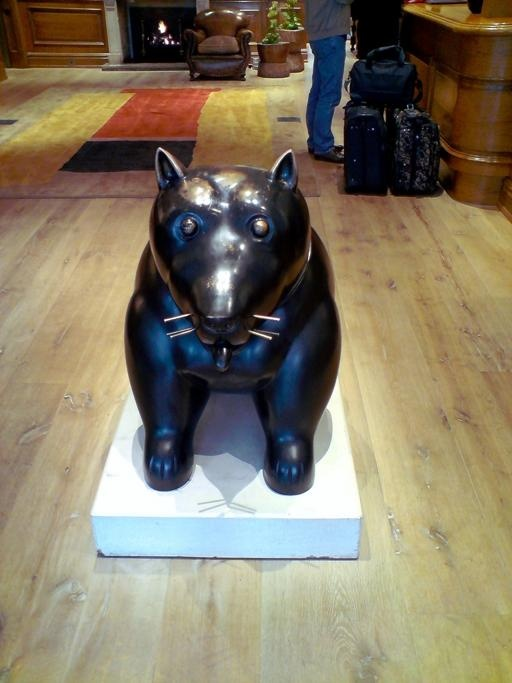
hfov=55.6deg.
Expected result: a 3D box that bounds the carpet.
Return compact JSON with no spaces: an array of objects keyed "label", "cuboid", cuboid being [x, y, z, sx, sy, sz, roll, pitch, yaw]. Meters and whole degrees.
[{"label":"carpet","cuboid":[-0.901,-2.040,4.650,2.656,0.083,3.828,0,35,1]}]

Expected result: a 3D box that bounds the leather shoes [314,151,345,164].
[{"label":"leather shoes","cuboid":[0.581,-1.427,3.765,0.267,0.124,0.096,7,35,14]}]

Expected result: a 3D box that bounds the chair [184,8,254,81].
[{"label":"chair","cuboid":[-0.561,-4.423,7.250,0.984,0.843,1.023,-1,34,-1]}]

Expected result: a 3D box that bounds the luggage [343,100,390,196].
[{"label":"luggage","cuboid":[0.741,-1.229,3.406,0.310,0.487,0.665,1,9,5]}]

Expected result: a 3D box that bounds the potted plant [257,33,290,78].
[{"label":"potted plant","cuboid":[0.237,-4.210,7.146,0.470,0.559,0.511,-1,30,1]}]

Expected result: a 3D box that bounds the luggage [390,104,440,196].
[{"label":"luggage","cuboid":[0.998,-1.189,3.075,0.230,0.439,0.460,-3,36,7]}]

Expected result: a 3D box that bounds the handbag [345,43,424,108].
[{"label":"handbag","cuboid":[0.894,-1.815,3.362,0.494,0.369,0.351,10,35,15]}]
